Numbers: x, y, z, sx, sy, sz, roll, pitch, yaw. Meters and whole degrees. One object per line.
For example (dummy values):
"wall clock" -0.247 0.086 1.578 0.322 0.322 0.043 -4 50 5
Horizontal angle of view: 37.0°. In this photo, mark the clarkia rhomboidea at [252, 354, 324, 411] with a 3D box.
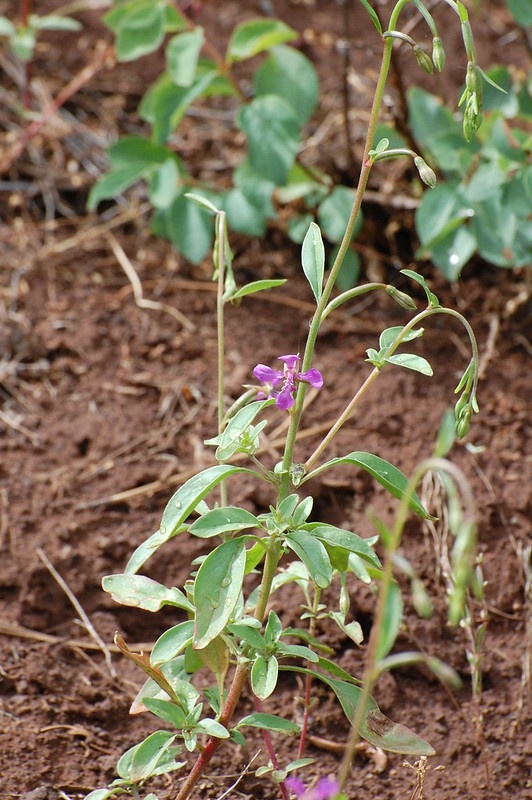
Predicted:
"clarkia rhomboidea" 0.047 -0.040 1.478 0.114 0.107 0.032 14 10 15
